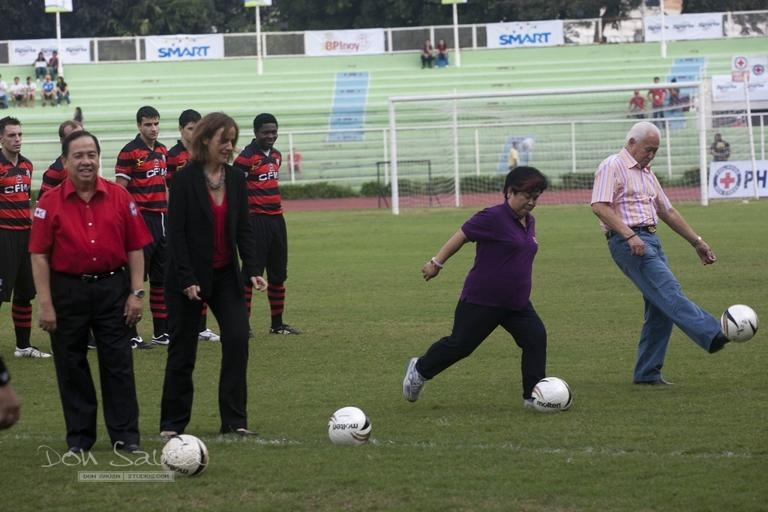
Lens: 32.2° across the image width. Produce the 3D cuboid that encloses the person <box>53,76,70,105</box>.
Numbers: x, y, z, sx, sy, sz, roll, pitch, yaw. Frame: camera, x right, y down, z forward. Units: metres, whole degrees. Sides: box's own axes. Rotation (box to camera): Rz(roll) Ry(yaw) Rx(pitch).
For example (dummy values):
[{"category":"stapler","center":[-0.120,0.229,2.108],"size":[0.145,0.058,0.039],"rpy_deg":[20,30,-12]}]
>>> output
[{"category":"person","center":[-12.131,-6.161,49.607],"size":[0.517,1.021,1.353],"rpy_deg":[-4,8,-12]}]

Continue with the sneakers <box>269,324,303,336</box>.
[{"category":"sneakers","center":[-1.666,1.272,22.557],"size":[0.537,0.179,0.186],"rpy_deg":[0,-3,7]}]

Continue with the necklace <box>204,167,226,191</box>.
[{"category":"necklace","center":[-2.491,-1.104,19.298],"size":[0.320,0.298,0.117],"rpy_deg":[-6,-8,-8]}]

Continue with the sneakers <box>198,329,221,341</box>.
[{"category":"sneakers","center":[-2.905,1.351,22.504],"size":[0.494,0.199,0.183],"rpy_deg":[1,3,4]}]

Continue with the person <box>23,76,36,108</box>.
[{"category":"person","center":[-13.275,-6.067,49.446],"size":[0.446,1.045,1.674],"rpy_deg":[-4,8,-14]}]

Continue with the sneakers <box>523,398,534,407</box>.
[{"category":"sneakers","center":[2.218,2.204,19.929],"size":[0.126,0.079,0.115],"rpy_deg":[0,-2,-30]}]

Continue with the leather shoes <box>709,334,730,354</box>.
[{"category":"leather shoes","center":[5.082,1.359,19.964],"size":[0.375,0.173,0.241],"rpy_deg":[-36,-16,22]}]

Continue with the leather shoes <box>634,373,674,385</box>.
[{"category":"leather shoes","center":[4.212,1.879,20.425],"size":[0.622,0.221,0.193],"rpy_deg":[-2,0,-2]}]

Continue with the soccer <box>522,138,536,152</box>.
[{"category":"soccer","center":[4.830,-3.642,43.580],"size":[0.483,0.394,0.416],"rpy_deg":[-2,2,18]}]

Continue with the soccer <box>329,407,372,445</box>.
[{"category":"soccer","center":[-0.474,2.501,19.386],"size":[0.632,0.510,0.548],"rpy_deg":[-1,-12,-3]}]

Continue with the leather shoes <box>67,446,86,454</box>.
[{"category":"leather shoes","center":[-4.456,2.793,19.078],"size":[0.145,0.042,0.105],"rpy_deg":[9,2,12]}]

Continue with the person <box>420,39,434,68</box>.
[{"category":"person","center":[1.744,-7.648,50.518],"size":[0.499,1.054,0.703],"rpy_deg":[-2,8,1]}]

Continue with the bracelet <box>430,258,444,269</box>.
[{"category":"bracelet","center":[0.822,0.115,19.942],"size":[0.133,0.113,0.125],"rpy_deg":[39,7,-45]}]

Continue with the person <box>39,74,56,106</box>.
[{"category":"person","center":[-12.608,-6.158,49.430],"size":[0.504,1.164,0.652],"rpy_deg":[-6,9,-24]}]

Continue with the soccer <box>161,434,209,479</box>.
[{"category":"soccer","center":[-2.825,2.813,18.791],"size":[0.665,0.459,0.505],"rpy_deg":[14,3,8]}]

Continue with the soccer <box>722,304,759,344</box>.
[{"category":"soccer","center":[5.433,1.037,19.996],"size":[0.559,0.563,0.285],"rpy_deg":[-2,8,1]}]
